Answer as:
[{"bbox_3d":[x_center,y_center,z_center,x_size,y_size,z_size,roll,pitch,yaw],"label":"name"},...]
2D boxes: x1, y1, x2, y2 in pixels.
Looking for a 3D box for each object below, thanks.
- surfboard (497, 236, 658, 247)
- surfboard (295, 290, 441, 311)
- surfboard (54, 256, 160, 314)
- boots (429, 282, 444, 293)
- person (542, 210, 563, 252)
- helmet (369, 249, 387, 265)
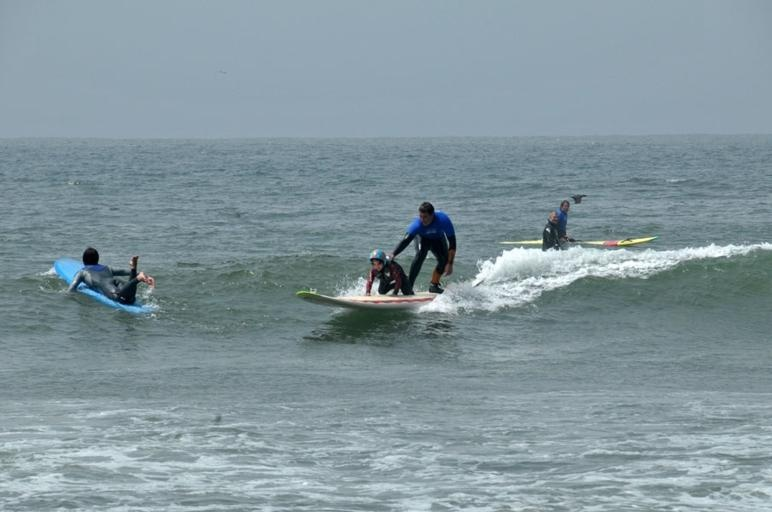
[{"bbox_3d":[7.074,-0.539,43.933,5.385,0.268,0.653,0,0,-24],"label":"surfboard"},{"bbox_3d":[-0.430,1.271,33.588,4.429,0.409,1.084,0,-1,-16],"label":"surfboard"},{"bbox_3d":[-8.374,0.907,34.688,3.455,0.376,0.837,18,30,25],"label":"surfboard"},{"bbox_3d":[1.400,0.939,34.663,0.578,0.388,0.214,-2,7,-9],"label":"boots"},{"bbox_3d":[5.690,-0.846,40.357,0.672,1.278,0.625,8,5,6],"label":"person"},{"bbox_3d":[-0.371,-0.009,33.566,0.518,0.491,0.542,5,8,11],"label":"helmet"}]
